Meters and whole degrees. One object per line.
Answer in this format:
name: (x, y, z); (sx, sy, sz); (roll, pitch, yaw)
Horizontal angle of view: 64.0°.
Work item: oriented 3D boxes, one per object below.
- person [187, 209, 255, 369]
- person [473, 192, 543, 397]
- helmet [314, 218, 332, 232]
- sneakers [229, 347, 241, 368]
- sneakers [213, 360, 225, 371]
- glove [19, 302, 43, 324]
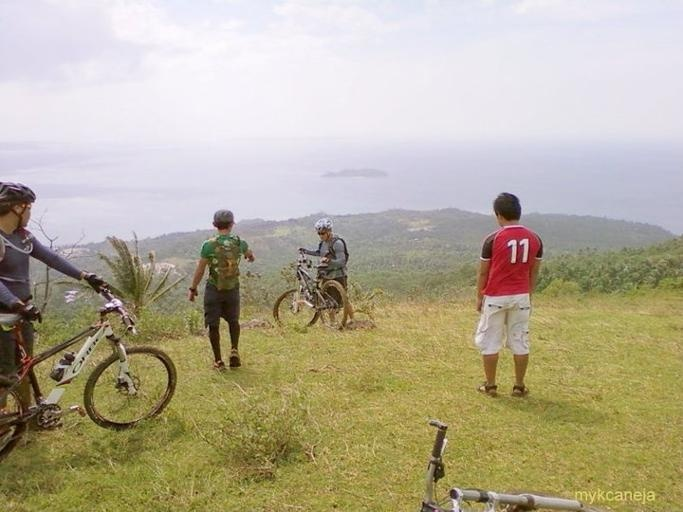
person: (-1.862, 0.515, 8.490); (0.948, 2.654, 1.470); (-1, 13, -10)
person: (2.332, 0.567, 7.716); (0.827, 2.825, 0.614); (5, 13, 13)
helmet: (-0.403, -0.660, 11.797); (0.337, 0.325, 0.630); (1, 13, -3)
sneakers: (-1.701, 1.600, 8.622); (0.135, 0.333, 0.149); (0, 20, -5)
sneakers: (-1.889, 1.696, 8.483); (0.128, 0.159, 0.172); (-5, -17, 26)
glove: (-3.493, 0.663, 6.165); (0.180, 0.094, 0.226); (29, -34, -1)
